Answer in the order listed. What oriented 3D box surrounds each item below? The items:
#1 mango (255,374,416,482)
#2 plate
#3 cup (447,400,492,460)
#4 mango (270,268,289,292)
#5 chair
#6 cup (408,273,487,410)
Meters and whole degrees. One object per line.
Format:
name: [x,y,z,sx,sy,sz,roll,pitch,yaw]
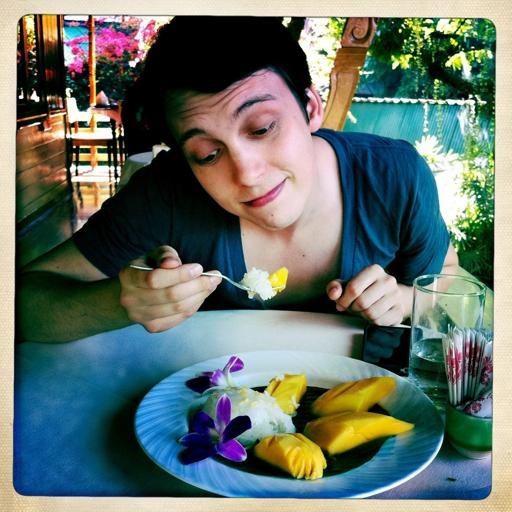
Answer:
mango: [0.128,0.293,0.876,0.264,0.126,0.231,1,7,-2]
plate: [0.057,0.336,0.816,0.396,0.046,0.380,0,13,2]
cup: [0.397,0.348,0.875,0.083,0.080,0.074,5,-19,13]
mango: [0.049,0.069,1.247,0.027,0.060,0.068,10,12,37]
chair: [-0.441,-0.333,1.348,0.151,0.221,0.132,-3,13,-3]
cup: [0.413,0.203,0.998,0.163,0.243,0.153,3,-7,0]
